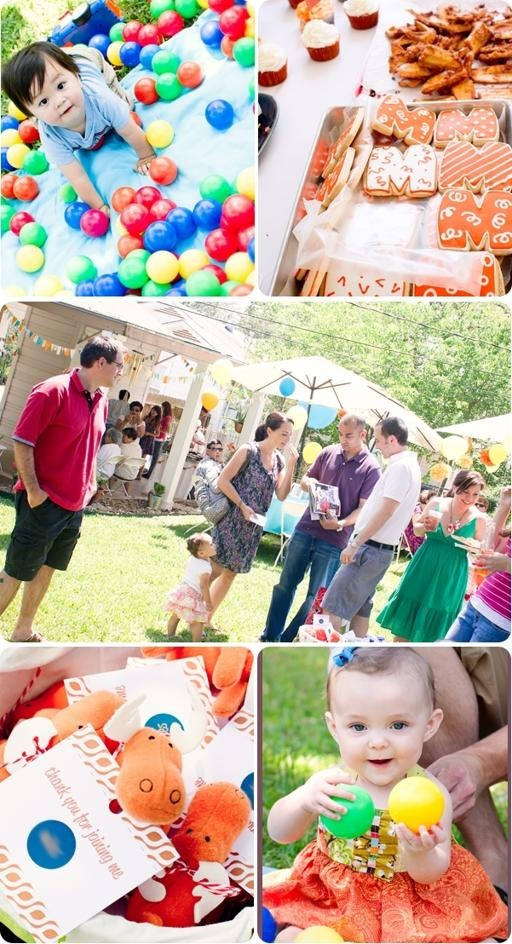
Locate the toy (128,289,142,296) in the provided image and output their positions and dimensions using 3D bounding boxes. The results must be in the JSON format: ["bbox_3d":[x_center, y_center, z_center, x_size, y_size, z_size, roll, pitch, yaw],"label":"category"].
[{"bbox_3d":[-0.557,-0.821,2.632,0.037,0.030,0.050,-1,-3,27],"label":"toy"}]

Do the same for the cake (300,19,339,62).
[{"bbox_3d":[0.288,-1.970,2.630,0.143,0.147,0.191,-11,63,10],"label":"cake"}]

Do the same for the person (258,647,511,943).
[{"bbox_3d":[0.322,1.055,1.754,0.717,0.716,0.624,-18,35,-8],"label":"person"}]

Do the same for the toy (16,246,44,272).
[{"bbox_3d":[-1.114,-1.042,2.831,0.120,0.155,0.128,1,16,6],"label":"toy"}]

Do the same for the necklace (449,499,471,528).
[{"bbox_3d":[0.788,0.154,2.240,0.062,0.112,0.032,4,5,2],"label":"necklace"}]

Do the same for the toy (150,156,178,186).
[{"bbox_3d":[-0.441,-1.418,2.731,0.089,0.091,0.104,-35,-16,9],"label":"toy"}]

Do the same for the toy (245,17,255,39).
[{"bbox_3d":[-0.034,-2.126,2.767,0.051,0.077,0.086,-8,35,6],"label":"toy"}]

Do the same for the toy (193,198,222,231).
[{"bbox_3d":[-0.218,-1.145,2.580,0.118,0.151,0.124,-5,16,-10],"label":"toy"}]

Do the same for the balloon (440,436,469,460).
[{"bbox_3d":[0.763,-0.093,2.219,0.084,0.095,0.089,-6,-5,18],"label":"balloon"}]

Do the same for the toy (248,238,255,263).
[{"bbox_3d":[-0.024,-0.948,2.475,0.033,0.090,0.059,-11,34,1],"label":"toy"}]

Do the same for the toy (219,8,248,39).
[{"bbox_3d":[-0.106,-2.146,2.820,0.133,0.172,0.142,-2,13,-2],"label":"toy"}]

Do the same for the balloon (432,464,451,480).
[{"bbox_3d":[0.716,-0.005,2.227,0.051,0.066,0.038,2,7,4],"label":"balloon"}]

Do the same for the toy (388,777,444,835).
[{"bbox_3d":[0.414,0.863,1.535,0.120,0.154,0.125,-6,-11,9],"label":"toy"}]

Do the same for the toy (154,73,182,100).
[{"bbox_3d":[-0.465,-1.956,2.946,0.115,0.147,0.120,-16,32,-21],"label":"toy"}]

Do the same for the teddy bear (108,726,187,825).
[{"bbox_3d":[-0.315,0.925,1.722,0.222,0.183,0.378,25,-9,-12],"label":"teddy bear"}]

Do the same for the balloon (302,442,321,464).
[{"bbox_3d":[0.219,-0.077,2.294,0.066,0.089,0.070,5,7,8],"label":"balloon"}]

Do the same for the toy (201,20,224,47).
[{"bbox_3d":[-0.218,-2.185,2.923,0.115,0.148,0.123,-5,22,2],"label":"toy"}]

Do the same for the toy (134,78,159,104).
[{"bbox_3d":[-0.555,-1.921,2.937,0.111,0.146,0.122,0,25,3],"label":"toy"}]

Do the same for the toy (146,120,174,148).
[{"bbox_3d":[-0.470,-1.642,2.810,0.086,0.103,0.090,29,49,2],"label":"toy"}]

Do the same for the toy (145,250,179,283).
[{"bbox_3d":[-0.414,-0.896,2.549,0.152,0.133,0.075,-15,34,-3],"label":"toy"}]

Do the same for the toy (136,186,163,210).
[{"bbox_3d":[-0.505,-1.292,2.753,0.106,0.130,0.107,-28,41,-27],"label":"toy"}]

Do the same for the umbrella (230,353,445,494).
[{"bbox_3d":[0.184,-0.145,2.274,0.498,0.494,0.226,22,80,22],"label":"umbrella"}]

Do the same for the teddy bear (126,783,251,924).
[{"bbox_3d":[-0.209,1.117,1.724,0.242,0.178,0.400,34,63,-7],"label":"teddy bear"}]

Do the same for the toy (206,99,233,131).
[{"bbox_3d":[-0.174,-1.695,2.750,0.137,0.125,0.101,-11,34,3],"label":"toy"}]

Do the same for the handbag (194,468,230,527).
[{"bbox_3d":[-0.184,0.109,2.326,0.143,0.206,0.080,3,-6,-44],"label":"handbag"}]

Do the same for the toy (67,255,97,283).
[{"bbox_3d":[-0.826,-0.950,2.710,0.138,0.098,0.140,-3,36,14],"label":"toy"}]

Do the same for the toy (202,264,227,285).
[{"bbox_3d":[-0.181,-0.874,2.537,0.070,0.077,0.097,13,-7,25],"label":"toy"}]

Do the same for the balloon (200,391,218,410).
[{"bbox_3d":[-0.184,-0.279,2.274,0.062,0.069,0.078,4,-6,2],"label":"balloon"}]

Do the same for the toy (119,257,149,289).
[{"bbox_3d":[-0.541,-0.877,2.586,0.124,0.160,0.131,0,8,1],"label":"toy"}]

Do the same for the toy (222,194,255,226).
[{"bbox_3d":[-0.076,-1.114,2.469,0.123,0.155,0.135,4,34,6],"label":"toy"}]

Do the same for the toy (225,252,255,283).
[{"bbox_3d":[-0.061,-0.866,2.514,0.127,0.165,0.134,-1,7,3],"label":"toy"}]

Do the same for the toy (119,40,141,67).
[{"bbox_3d":[-0.675,-2.231,3.086,0.107,0.138,0.114,4,16,10],"label":"toy"}]

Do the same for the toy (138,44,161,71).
[{"bbox_3d":[-0.561,-2.155,3.044,0.118,0.150,0.126,6,21,1],"label":"toy"}]

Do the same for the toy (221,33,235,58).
[{"bbox_3d":[-0.137,-2.081,2.837,0.090,0.098,0.118,-2,48,0],"label":"toy"}]

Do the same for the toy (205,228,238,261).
[{"bbox_3d":[-0.148,-0.998,2.586,0.120,0.151,0.131,1,41,6],"label":"toy"}]

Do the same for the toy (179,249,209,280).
[{"bbox_3d":[-0.288,-0.941,2.604,0.128,0.162,0.136,-12,27,-4],"label":"toy"}]

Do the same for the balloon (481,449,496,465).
[{"bbox_3d":[0.893,-0.056,2.238,0.052,0.058,0.054,19,18,34],"label":"balloon"}]

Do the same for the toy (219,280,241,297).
[{"bbox_3d":[-0.112,-0.790,2.436,0.072,0.077,0.089,-1,30,-4],"label":"toy"}]

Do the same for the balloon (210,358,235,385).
[{"bbox_3d":[-0.134,-0.392,2.321,0.087,0.112,0.094,-9,22,2],"label":"balloon"}]

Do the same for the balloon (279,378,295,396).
[{"bbox_3d":[0.119,-0.328,2.243,0.051,0.069,0.038,-2,-2,4],"label":"balloon"}]

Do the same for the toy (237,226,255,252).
[{"bbox_3d":[-0.044,-1.021,2.543,0.078,0.084,0.096,25,32,13],"label":"toy"}]

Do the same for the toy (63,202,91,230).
[{"bbox_3d":[-0.890,-1.262,2.904,0.128,0.166,0.137,0,9,0],"label":"toy"}]

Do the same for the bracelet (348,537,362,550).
[{"bbox_3d":[0.387,0.284,2.280,0.036,0.040,0.040,-1,-3,-6],"label":"bracelet"}]

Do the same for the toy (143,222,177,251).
[{"bbox_3d":[-0.418,-1.038,2.608,0.132,0.170,0.136,2,12,7],"label":"toy"}]

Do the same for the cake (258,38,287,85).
[{"bbox_3d":[0.066,-1.853,2.653,0.134,0.178,0.146,3,8,0],"label":"cake"}]

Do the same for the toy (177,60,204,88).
[{"bbox_3d":[-0.332,-1.984,2.891,0.137,0.112,0.087,-13,34,0],"label":"toy"}]

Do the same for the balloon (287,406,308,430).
[{"bbox_3d":[0.167,-0.215,2.306,0.077,0.103,0.082,-1,6,9],"label":"balloon"}]

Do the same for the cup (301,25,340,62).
[{"bbox_3d":[0.294,-1.960,2.629,0.130,0.119,0.173,-4,66,9],"label":"cup"}]

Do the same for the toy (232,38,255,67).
[{"bbox_3d":[-0.066,-2.012,2.779,0.068,0.114,0.170,-28,37,-22],"label":"toy"}]

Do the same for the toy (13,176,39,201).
[{"bbox_3d":[-1.220,-1.496,3.051,0.095,0.100,0.125,-9,66,15],"label":"toy"}]

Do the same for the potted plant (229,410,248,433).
[{"bbox_3d":[-0.070,-0.196,2.270,0.058,0.079,0.072,2,-4,-17],"label":"potted plant"}]
